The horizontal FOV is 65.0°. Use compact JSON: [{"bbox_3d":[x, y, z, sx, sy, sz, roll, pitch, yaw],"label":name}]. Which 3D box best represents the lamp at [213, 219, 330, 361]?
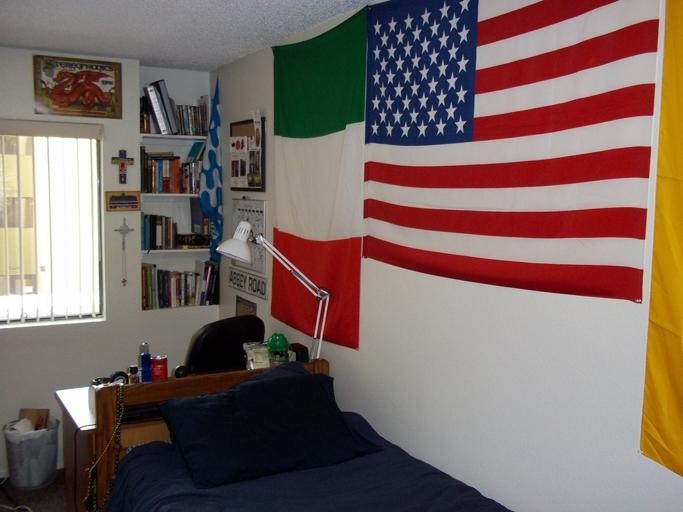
[{"bbox_3d":[-0.428,0.199,3.705,0.665,0.924,0.896,-3,7,-3],"label":"lamp"}]

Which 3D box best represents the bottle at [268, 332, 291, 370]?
[{"bbox_3d":[-0.381,0.580,3.294,0.122,0.180,0.169,0,-3,-5],"label":"bottle"}]

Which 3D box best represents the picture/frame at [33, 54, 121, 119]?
[{"bbox_3d":[-2.121,-1.362,4.269,0.472,0.389,0.018,-3,6,-29],"label":"picture/frame"}]

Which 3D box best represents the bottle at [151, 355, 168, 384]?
[{"bbox_3d":[-1.038,0.650,3.081,0.112,0.205,0.122,1,4,0],"label":"bottle"}]

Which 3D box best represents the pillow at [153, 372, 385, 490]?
[{"bbox_3d":[-0.349,0.862,2.619,0.666,0.126,0.530,-2,28,-32],"label":"pillow"}]

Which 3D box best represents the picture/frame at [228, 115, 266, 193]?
[{"bbox_3d":[-0.773,-0.820,4.375,0.011,0.589,0.528,-3,6,-42],"label":"picture/frame"}]

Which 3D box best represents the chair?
[{"bbox_3d":[-0.806,0.539,3.572,0.326,0.527,0.392,-1,5,-39],"label":"chair"}]
